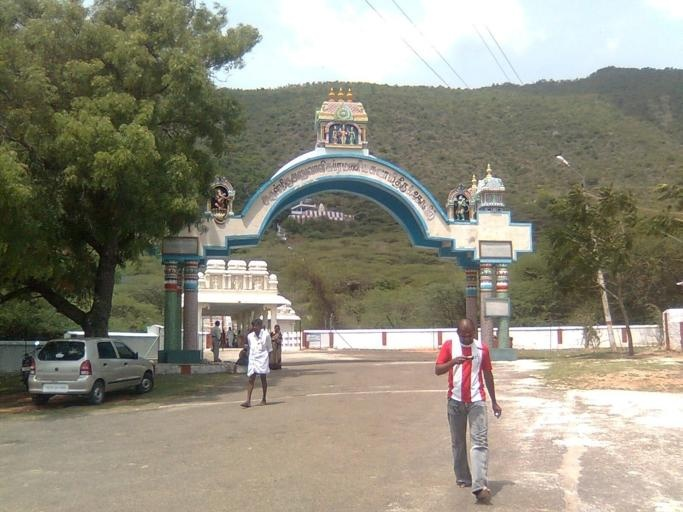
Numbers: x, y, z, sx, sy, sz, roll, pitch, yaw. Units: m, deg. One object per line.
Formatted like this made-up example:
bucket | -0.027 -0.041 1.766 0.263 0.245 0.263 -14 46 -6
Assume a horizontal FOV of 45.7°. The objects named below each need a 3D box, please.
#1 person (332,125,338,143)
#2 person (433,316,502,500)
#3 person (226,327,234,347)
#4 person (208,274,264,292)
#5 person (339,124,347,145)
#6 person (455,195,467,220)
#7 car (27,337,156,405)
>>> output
person | -0.284 -4.845 31.910 0.347 0.799 0.250 1 -8 -12
person | 2.043 2.416 12.899 0.853 2.810 0.769 -4 -8 21
person | -7.324 5.423 53.299 0.439 1.249 1.917 0 -8 -10
person | -6.312 1.552 48.582 3.321 0.884 0.378 1 -8 -16
person | 0.091 -4.803 31.933 0.270 0.839 0.357 -1 -7 0
person | 4.855 -1.961 32.612 0.589 0.957 0.296 1 -8 -12
car | -6.487 2.927 21.309 1.519 1.168 2.818 -2 -2 21
